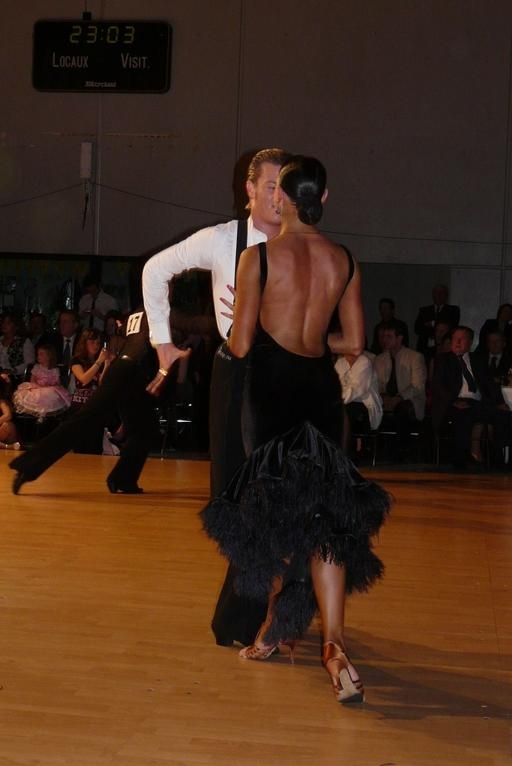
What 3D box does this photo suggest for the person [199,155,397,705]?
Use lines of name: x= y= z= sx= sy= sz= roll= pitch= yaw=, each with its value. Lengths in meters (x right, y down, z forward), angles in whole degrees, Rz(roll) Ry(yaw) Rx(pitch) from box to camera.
person: x=0.096 y=0.083 z=1.481 sx=0.398 sy=1.105 sz=0.306 roll=2 pitch=-3 yaw=10

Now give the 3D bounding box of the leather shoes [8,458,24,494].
leather shoes: x=-1.396 y=0.536 z=3.967 sx=0.086 sy=0.216 sz=0.302 roll=3 pitch=-3 yaw=-19

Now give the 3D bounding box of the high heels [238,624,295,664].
high heels: x=0.019 y=0.637 z=1.665 sx=0.173 sy=0.069 sz=0.064 roll=4 pitch=-5 yaw=-1

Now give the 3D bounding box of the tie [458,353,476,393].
tie: x=1.805 y=-0.082 z=5.778 sx=0.079 sy=0.332 sz=0.083 roll=-13 pitch=-28 yaw=3

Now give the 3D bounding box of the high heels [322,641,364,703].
high heels: x=0.170 y=0.575 z=1.337 sx=0.062 sy=0.121 sz=0.033 roll=-2 pitch=-41 yaw=-30

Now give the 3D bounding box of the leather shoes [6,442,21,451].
leather shoes: x=-2.045 y=0.537 z=5.759 sx=0.114 sy=0.065 sz=0.214 roll=4 pitch=-3 yaw=-34

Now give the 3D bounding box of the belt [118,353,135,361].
belt: x=-0.813 y=-0.155 z=4.202 sx=0.106 sy=0.038 sz=0.023 roll=0 pitch=-4 yaw=42
